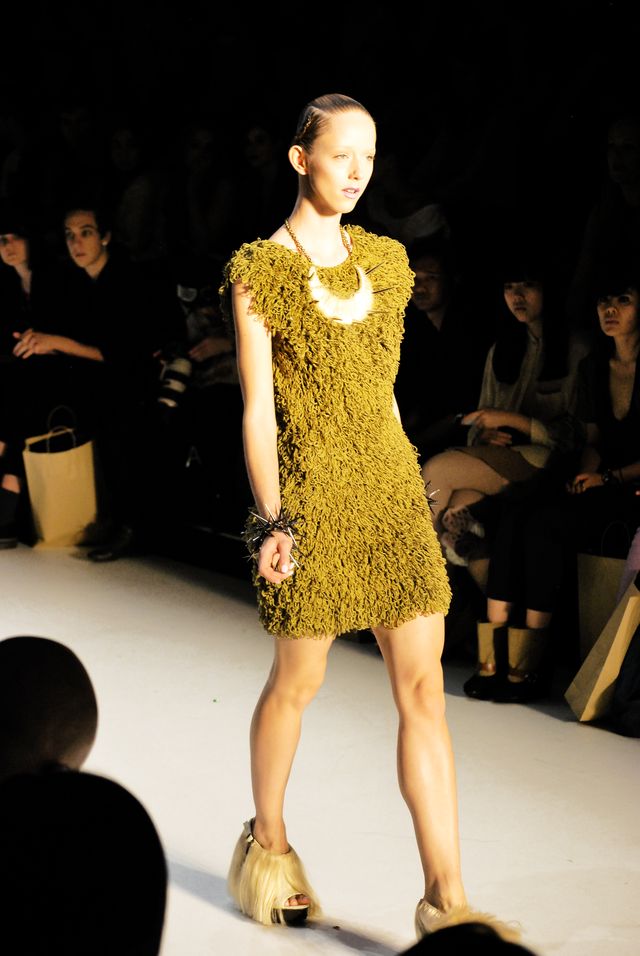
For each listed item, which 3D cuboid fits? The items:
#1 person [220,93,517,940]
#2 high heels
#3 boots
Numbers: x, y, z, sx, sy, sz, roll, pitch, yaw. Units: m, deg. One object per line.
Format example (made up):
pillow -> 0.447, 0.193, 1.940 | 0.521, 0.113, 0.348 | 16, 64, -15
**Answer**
person -> 0.042, 0.112, 1.160 | 0.346, 1.150, 0.692 | 0, 29, -7
high heels -> -0.070, 0.613, 1.311 | 0.079, 0.081, 0.207 | 0, -2, -18
boots -> 0.553, 0.537, 2.447 | 0.253, 0.204, 0.207 | 6, -5, -41
